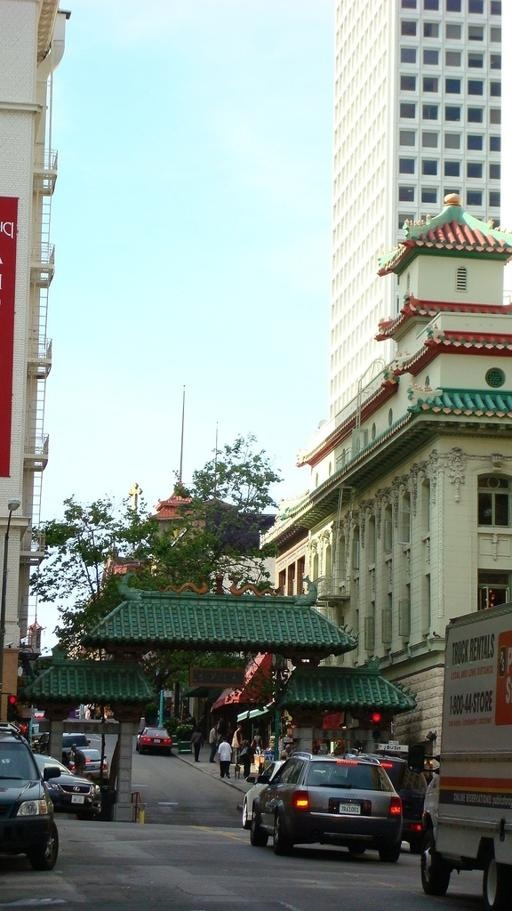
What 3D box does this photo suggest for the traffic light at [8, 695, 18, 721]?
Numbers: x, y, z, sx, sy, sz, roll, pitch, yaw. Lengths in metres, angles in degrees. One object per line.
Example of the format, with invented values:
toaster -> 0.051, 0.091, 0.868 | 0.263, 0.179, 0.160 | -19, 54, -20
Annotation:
traffic light -> -6.848, 7.172, 40.027 | 0.241, 0.640, 1.259 | 4, -10, -9

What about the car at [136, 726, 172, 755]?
car -> -5.120, 14.647, 71.832 | 1.454, 1.288, 2.092 | 5, -10, -12

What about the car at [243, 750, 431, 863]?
car -> 1.013, 4.992, 20.067 | 1.637, 1.401, 2.599 | 5, -10, -12
